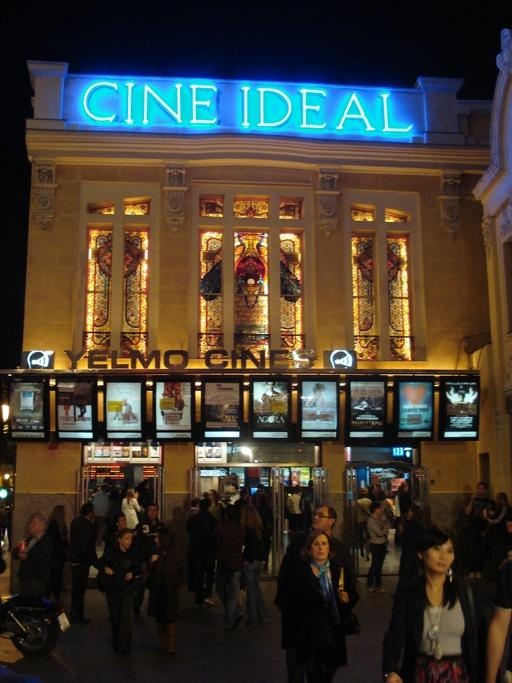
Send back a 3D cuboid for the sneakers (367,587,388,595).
[{"bbox_3d":[2.511,5.183,14.432,0.409,0.160,0.133,-1,0,3],"label":"sneakers"}]
